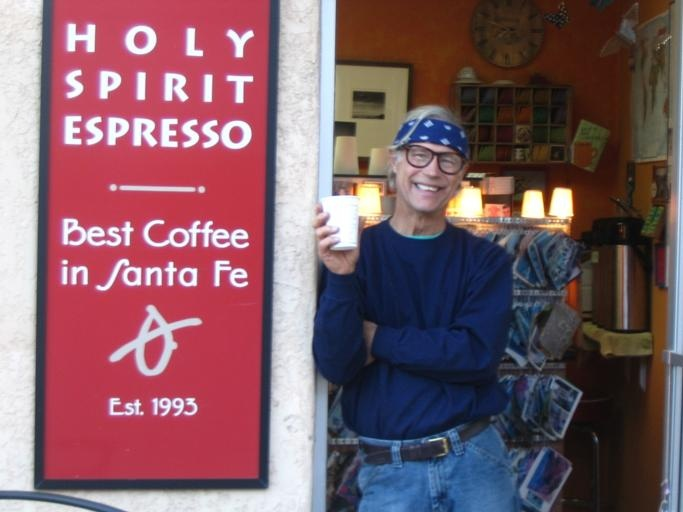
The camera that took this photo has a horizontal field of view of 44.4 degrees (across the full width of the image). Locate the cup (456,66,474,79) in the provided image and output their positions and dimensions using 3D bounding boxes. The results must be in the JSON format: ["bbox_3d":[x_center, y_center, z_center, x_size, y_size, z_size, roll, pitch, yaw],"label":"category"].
[{"bbox_3d":[1.004,-1.482,6.777,0.158,0.113,0.119,1,4,22],"label":"cup"}]

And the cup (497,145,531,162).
[{"bbox_3d":[1.374,-0.825,6.733,0.220,0.140,0.168,0,12,8],"label":"cup"}]

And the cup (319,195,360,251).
[{"bbox_3d":[0.009,-0.103,2.716,0.137,0.158,0.149,0,-17,0],"label":"cup"}]

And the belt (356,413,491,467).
[{"bbox_3d":[0.296,0.660,2.958,0.457,0.141,0.088,-1,3,-2],"label":"belt"}]
